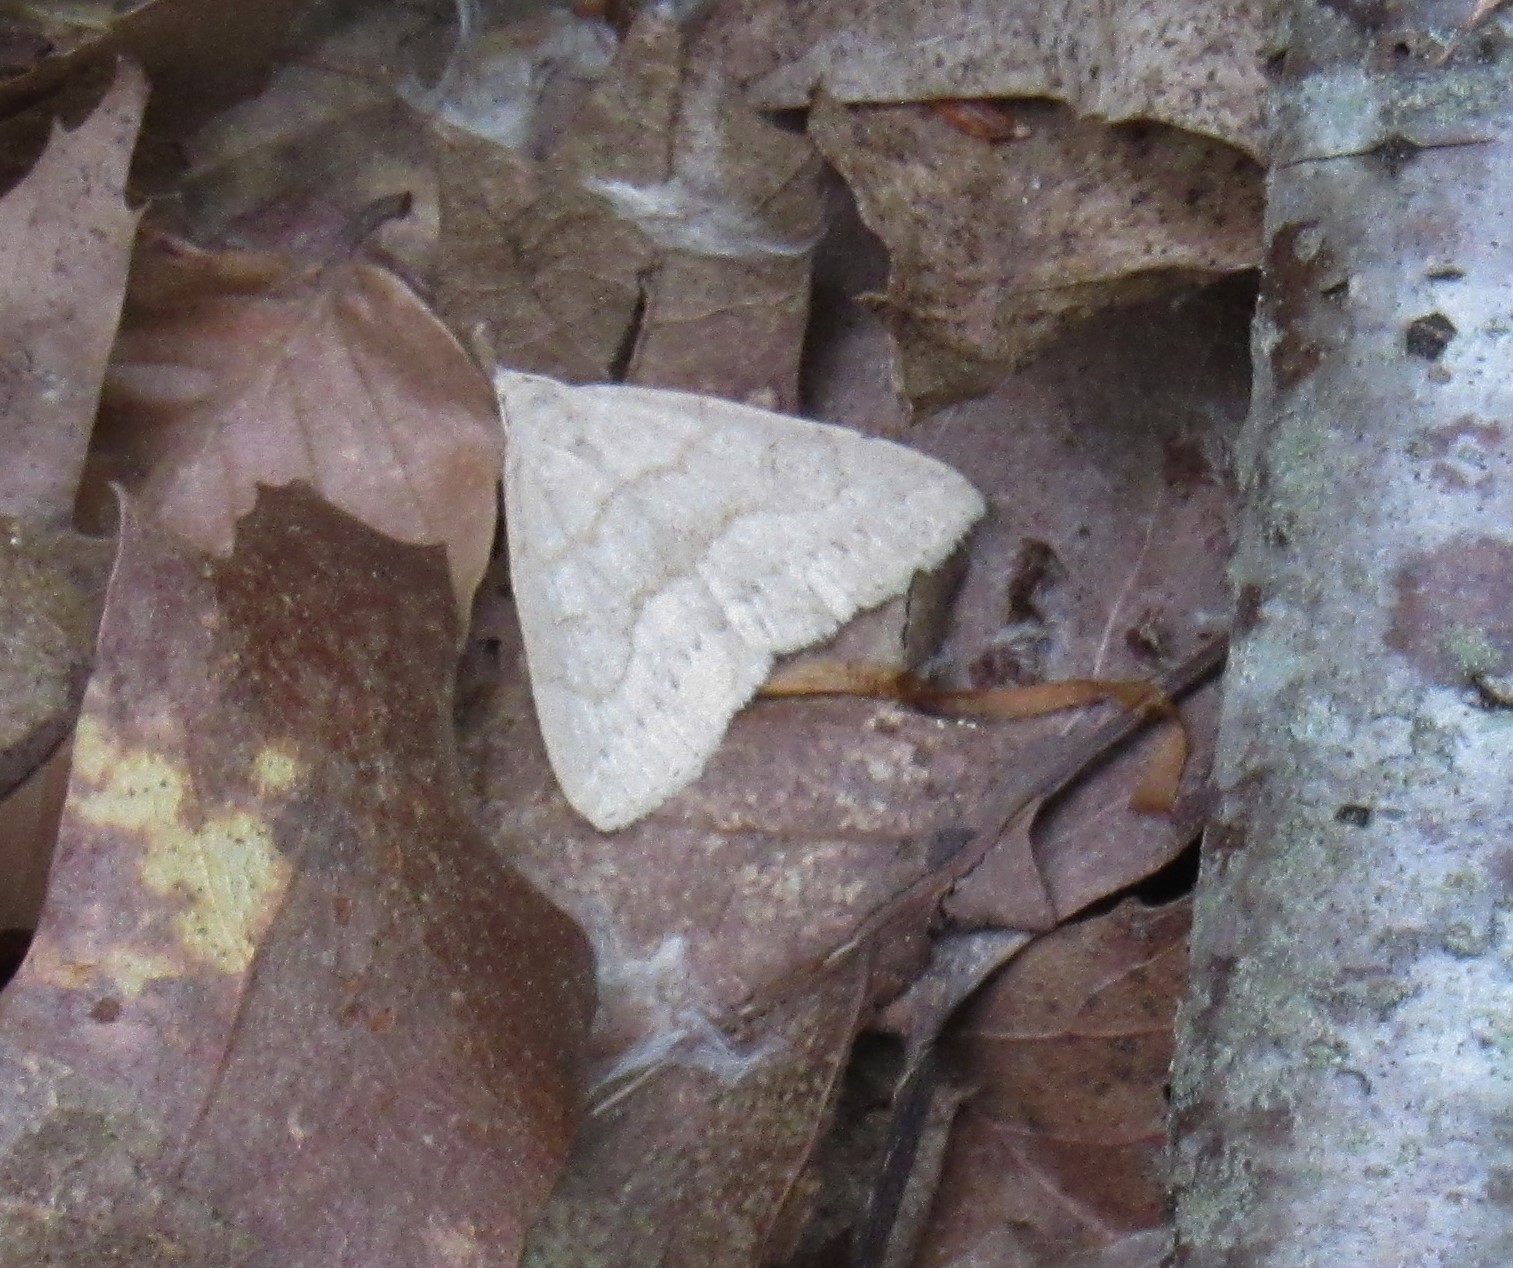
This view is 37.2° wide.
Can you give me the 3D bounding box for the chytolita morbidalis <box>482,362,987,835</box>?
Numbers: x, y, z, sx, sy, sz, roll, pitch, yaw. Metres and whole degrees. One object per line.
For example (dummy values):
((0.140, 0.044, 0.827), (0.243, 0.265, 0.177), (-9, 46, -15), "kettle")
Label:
((-0.037, -0.007, 1.918), (0.408, 0.150, 0.325), (7, 62, 2), "chytolita morbidalis")
